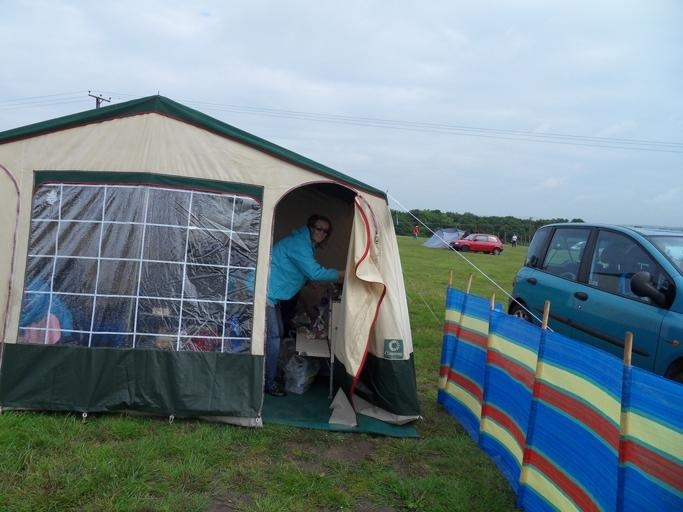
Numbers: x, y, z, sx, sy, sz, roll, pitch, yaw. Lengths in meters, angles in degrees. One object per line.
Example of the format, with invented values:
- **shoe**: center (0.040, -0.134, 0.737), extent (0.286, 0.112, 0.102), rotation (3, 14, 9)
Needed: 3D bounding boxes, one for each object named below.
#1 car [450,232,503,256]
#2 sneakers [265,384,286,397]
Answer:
- **car**: center (8.787, -0.810, 31.407), extent (2.291, 0.972, 1.652), rotation (5, 3, 2)
- **sneakers**: center (-0.810, 1.662, 5.993), extent (0.304, 0.119, 0.112), rotation (-1, -2, 34)
